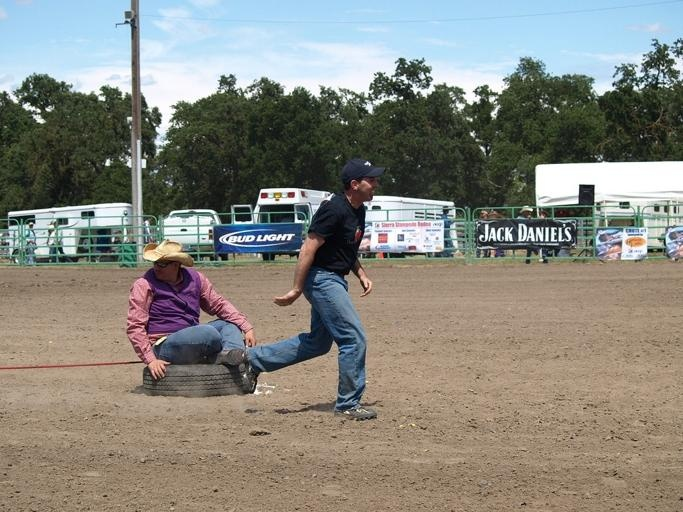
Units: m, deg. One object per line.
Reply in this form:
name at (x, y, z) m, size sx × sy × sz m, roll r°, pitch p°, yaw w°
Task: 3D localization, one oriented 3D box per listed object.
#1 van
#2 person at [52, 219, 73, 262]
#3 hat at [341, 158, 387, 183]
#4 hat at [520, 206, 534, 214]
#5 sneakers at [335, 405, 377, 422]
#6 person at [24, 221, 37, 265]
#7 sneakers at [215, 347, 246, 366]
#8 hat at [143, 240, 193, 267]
van at (-4.342, -0.595, 32.705) m, size 1.375 × 1.056 × 2.337 m, roll 1°, pitch 5°, yaw 0°
person at (-8.762, -0.457, 35.033) m, size 1.083 × 1.346 × 0.569 m, roll 4°, pitch 2°, yaw 37°
hat at (0.261, -1.043, 13.514) m, size 0.445 × 0.207 × 0.273 m, roll -6°, pitch 11°, yaw 3°
hat at (5.156, -1.292, 31.302) m, size 0.343 × 0.123 × 0.320 m, roll -1°, pitch -2°, yaw 5°
sneakers at (0.179, 1.859, 13.473) m, size 0.508 × 0.193 × 0.175 m, roll -3°, pitch 0°, yaw 4°
person at (-9.335, -0.356, 33.926) m, size 0.549 × 1.265 × 0.737 m, roll 2°, pitch 13°, yaw -2°
sneakers at (-1.359, 1.261, 14.092) m, size 0.322 × 0.130 × 0.205 m, roll -6°, pitch -9°, yaw 36°
hat at (-2.127, -0.030, 14.059) m, size 0.473 × 0.183 × 0.376 m, roll 10°, pitch 0°, yaw -16°
